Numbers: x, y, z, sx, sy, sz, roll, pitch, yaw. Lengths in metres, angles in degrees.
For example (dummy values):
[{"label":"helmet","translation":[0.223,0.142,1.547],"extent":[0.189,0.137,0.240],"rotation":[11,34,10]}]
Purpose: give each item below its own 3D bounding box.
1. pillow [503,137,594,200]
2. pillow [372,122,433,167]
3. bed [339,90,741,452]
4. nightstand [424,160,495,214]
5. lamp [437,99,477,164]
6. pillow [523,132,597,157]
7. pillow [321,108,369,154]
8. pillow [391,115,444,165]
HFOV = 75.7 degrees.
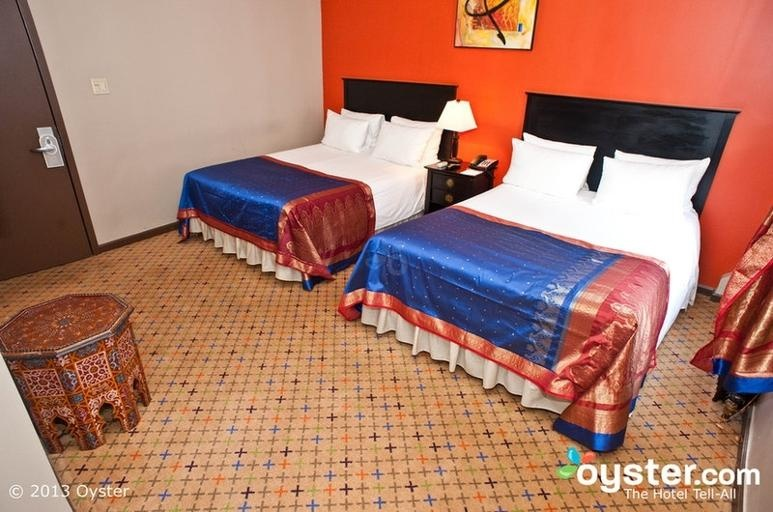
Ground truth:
[{"label":"pillow","translation":[1.642,-0.875,5.084],"extent":[0.951,0.556,0.258],"rotation":[26,10,37]},{"label":"pillow","translation":[0.186,-1.341,5.961],"extent":[0.643,0.529,0.178],"rotation":[20,-2,29]},{"label":"bed","translation":[1.326,0.017,4.591],"extent":[2.498,1.521,2.464],"rotation":[22,35,29]},{"label":"nightstand","translation":[0.870,-0.899,5.805],"extent":[0.605,0.631,0.643],"rotation":[20,37,31]},{"label":"lamp","translation":[0.839,-1.483,5.820],"extent":[0.497,0.735,0.489],"rotation":[-22,35,-36]},{"label":"pillow","translation":[1.846,-1.161,5.189],"extent":[0.696,0.277,0.079],"rotation":[19,-24,27]},{"label":"pillow","translation":[-0.516,-1.601,6.422],"extent":[0.600,0.411,0.231],"rotation":[18,-4,32]},{"label":"pillow","translation":[0.377,-1.361,5.958],"extent":[0.579,0.398,0.206],"rotation":[19,1,44]}]
